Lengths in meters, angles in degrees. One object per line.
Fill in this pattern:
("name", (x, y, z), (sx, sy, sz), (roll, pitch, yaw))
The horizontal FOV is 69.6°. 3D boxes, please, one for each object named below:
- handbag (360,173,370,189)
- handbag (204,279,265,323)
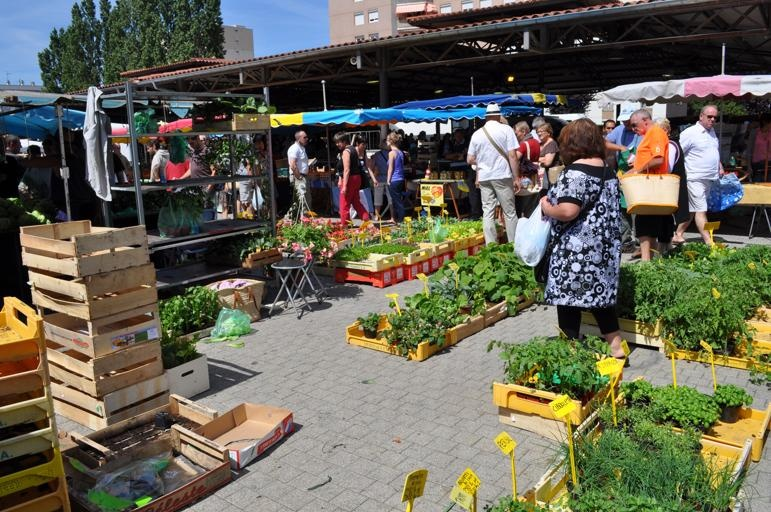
("handbag", (-0.481, -1.784, 13.200), (0.367, 0.365, 0.406), (-4, 8, -1))
("handbag", (-2.031, 0.519, 7.672), (0.730, 0.501, 0.580), (-6, 1, -22))
